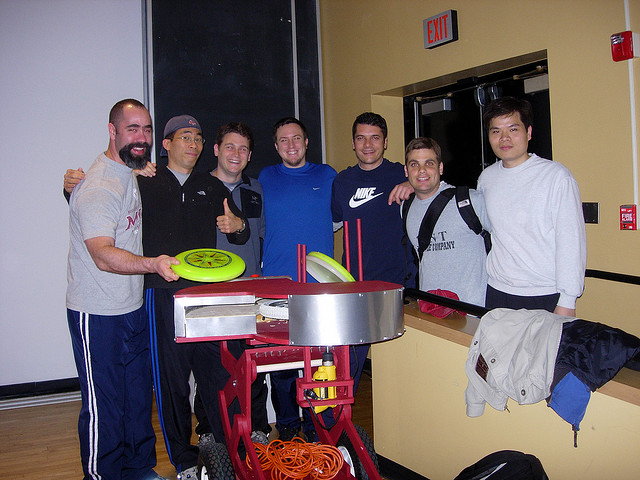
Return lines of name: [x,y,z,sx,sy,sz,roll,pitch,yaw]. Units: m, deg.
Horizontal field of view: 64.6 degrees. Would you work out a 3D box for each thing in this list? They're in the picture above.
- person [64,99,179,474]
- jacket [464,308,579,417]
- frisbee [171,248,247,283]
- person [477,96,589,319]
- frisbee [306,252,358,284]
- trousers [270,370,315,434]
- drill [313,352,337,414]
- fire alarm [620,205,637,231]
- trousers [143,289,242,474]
person: [-1.176,0.377,2.924,0.548,2.323,0.713,-5,9,-16]
jacket: [0.827,0.656,2.378,0.127,0.464,0.426,-37,10,20]
frisbee: [-0.533,0.117,2.502,0.300,0.132,0.348,-1,10,12]
person: [1.193,-0.207,2.935,0.271,1.245,0.654,-9,10,-36]
frisbee: [0.041,0.132,2.487,0.220,0.148,0.188,-4,9,-4]
trousers: [-0.237,1.191,3.738,0.227,0.498,0.243,-5,9,-14]
drill: [0.022,0.722,2.522,0.120,0.354,0.162,-3,8,-2]
fire alarm: [1.989,-0.151,3.279,0.098,0.158,0.035,3,10,34]
trousers: [-0.814,0.885,3.307,0.551,1.220,0.454,-7,9,-23]
